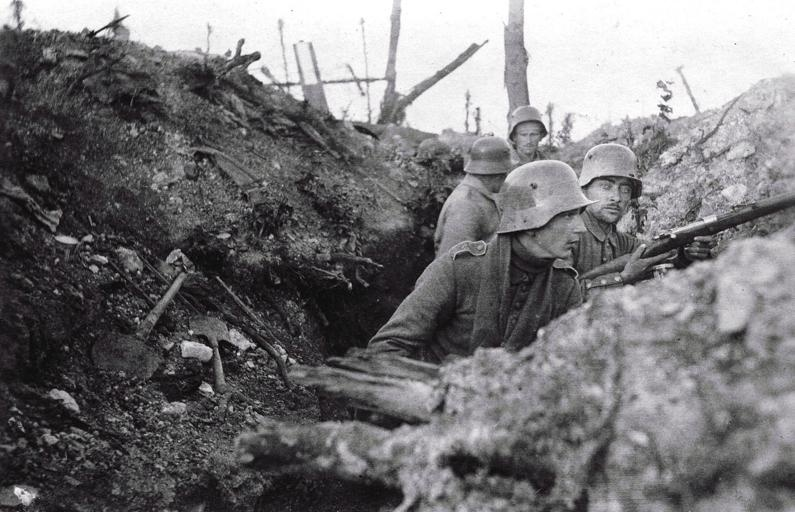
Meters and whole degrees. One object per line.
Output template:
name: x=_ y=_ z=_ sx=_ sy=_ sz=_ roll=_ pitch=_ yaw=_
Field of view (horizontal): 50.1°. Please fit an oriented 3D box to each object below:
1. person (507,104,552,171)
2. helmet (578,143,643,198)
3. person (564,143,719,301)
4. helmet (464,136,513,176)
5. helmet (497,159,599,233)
person: x=1.417 y=-1.300 z=9.319 sx=0.430 sy=0.722 sz=0.437 roll=8 pitch=15 yaw=42
helmet: x=1.779 y=-0.668 z=7.175 sx=0.458 sy=0.403 sz=0.529 roll=3 pitch=-2 yaw=6
person: x=1.750 y=-0.349 z=6.967 sx=0.903 sy=0.692 sz=1.473 roll=-11 pitch=19 yaw=3
helmet: x=0.886 y=-0.965 z=8.109 sx=0.534 sy=0.348 sz=0.606 roll=-9 pitch=8 yaw=-42
helmet: x=1.062 y=-0.419 z=6.141 sx=0.622 sy=0.404 sz=0.455 roll=-14 pitch=0 yaw=19
